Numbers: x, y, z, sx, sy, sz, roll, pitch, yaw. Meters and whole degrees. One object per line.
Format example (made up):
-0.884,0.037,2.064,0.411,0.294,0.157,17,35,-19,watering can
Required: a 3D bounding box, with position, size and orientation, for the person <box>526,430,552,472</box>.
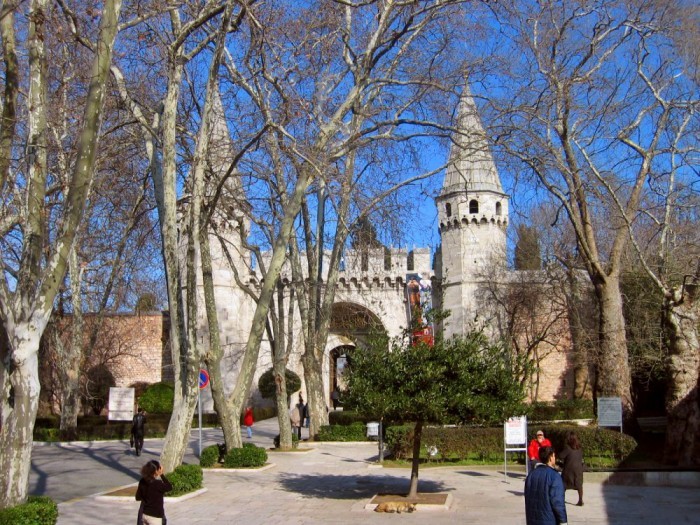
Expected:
4.194,4.315,17.895,0.450,1.254,0.420,3,16,16,person
